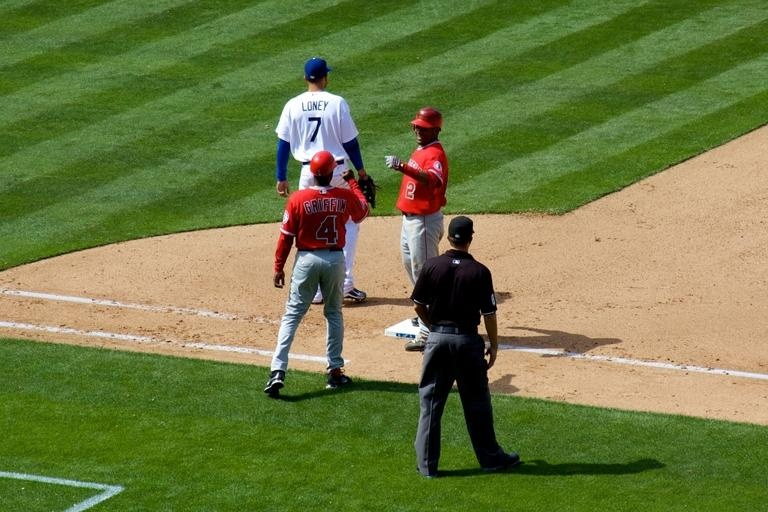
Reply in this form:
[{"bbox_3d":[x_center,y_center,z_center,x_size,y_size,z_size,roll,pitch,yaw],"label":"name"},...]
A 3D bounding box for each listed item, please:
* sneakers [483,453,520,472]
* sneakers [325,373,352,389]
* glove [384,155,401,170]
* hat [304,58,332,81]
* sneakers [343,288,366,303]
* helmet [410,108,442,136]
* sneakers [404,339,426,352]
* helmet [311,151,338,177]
[{"bbox_3d":[1.460,2.509,19.113,0.520,0.191,0.186,-10,21,-21],"label":"sneakers"},{"bbox_3d":[-0.614,1.653,20.292,0.364,0.194,0.147,-4,13,-12],"label":"sneakers"},{"bbox_3d":[0.084,-1.220,20.297,0.189,0.088,0.278,13,7,-13],"label":"glove"},{"bbox_3d":[-0.936,-2.610,21.479,0.326,0.222,0.403,4,37,10],"label":"hat"},{"bbox_3d":[-0.439,0.582,22.717,0.415,0.174,0.141,0,27,-6],"label":"sneakers"},{"bbox_3d":[0.645,-1.794,20.946,0.482,0.212,0.340,5,7,-30],"label":"helmet"},{"bbox_3d":[0.412,1.250,21.236,0.293,0.098,0.123,3,5,14],"label":"sneakers"},{"bbox_3d":[-0.860,-1.202,19.900,0.380,0.212,0.264,28,57,33],"label":"helmet"}]
